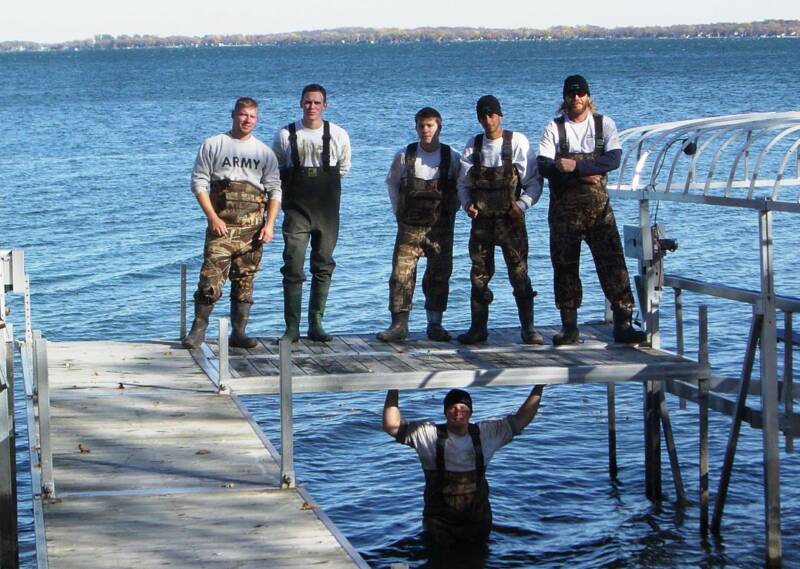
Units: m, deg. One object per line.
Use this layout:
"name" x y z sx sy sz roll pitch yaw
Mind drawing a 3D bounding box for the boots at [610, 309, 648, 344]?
"boots" 3.368 0.597 24.485 0.669 0.545 0.398 -1 1 -28

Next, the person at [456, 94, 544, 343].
"person" 1.461 -0.966 24.317 1.223 3.635 0.864 -3 12 4

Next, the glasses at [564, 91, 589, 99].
"glasses" 2.493 -2.709 23.575 0.317 0.106 0.101 -2 11 2

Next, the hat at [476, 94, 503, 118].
"hat" 1.282 -2.567 23.856 0.362 0.295 0.360 -9 10 2

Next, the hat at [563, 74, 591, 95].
"hat" 2.521 -2.850 23.691 0.378 0.262 0.321 -7 8 -35

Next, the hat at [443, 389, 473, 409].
"hat" 0.810 1.574 23.138 0.346 0.197 0.308 0 -4 -3
